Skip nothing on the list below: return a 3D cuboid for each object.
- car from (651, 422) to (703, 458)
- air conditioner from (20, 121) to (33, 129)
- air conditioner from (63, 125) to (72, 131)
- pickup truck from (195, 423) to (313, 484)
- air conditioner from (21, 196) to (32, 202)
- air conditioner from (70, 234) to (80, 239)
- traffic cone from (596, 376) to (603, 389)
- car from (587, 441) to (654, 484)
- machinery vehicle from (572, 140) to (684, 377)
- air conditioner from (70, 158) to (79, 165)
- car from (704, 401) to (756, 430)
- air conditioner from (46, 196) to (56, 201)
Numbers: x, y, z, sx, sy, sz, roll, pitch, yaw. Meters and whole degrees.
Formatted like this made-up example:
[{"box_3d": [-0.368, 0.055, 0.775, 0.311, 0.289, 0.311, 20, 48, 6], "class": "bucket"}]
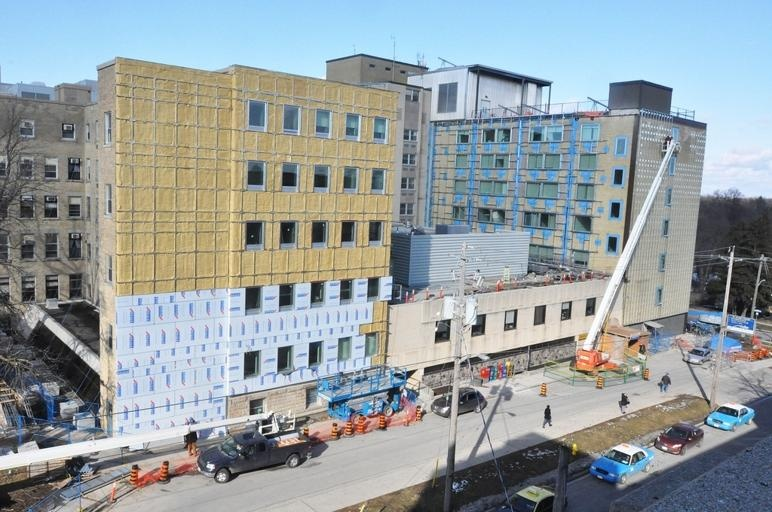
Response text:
[{"box_3d": [25.046, 15.594, 78.754, 3.872, 2.040, 1.970, -4, 7, -29], "class": "car"}, {"box_3d": [-36.772, -13.490, 94.487, 1.388, 0.675, 0.921, 1, 0, -40], "class": "air conditioner"}, {"box_3d": [-33.359, -13.580, 96.911, 1.088, 0.537, 0.705, 0, 3, -21], "class": "air conditioner"}, {"box_3d": [-10.700, 15.569, 72.787, 8.003, 2.436, 3.530, -2, 13, -31], "class": "pickup truck"}, {"box_3d": [-36.700, -5.986, 94.506, 0.989, 0.631, 0.835, -4, 7, -25], "class": "air conditioner"}, {"box_3d": [-33.095, -2.162, 98.568, 1.051, 0.535, 0.673, 2, -1, -13], "class": "air conditioner"}, {"box_3d": [21.275, 12.332, 90.335, 0.979, 0.967, 0.922, 0, 0, -9], "class": "traffic cone"}, {"box_3d": [19.128, 16.777, 74.661, 4.848, 2.418, 1.994, -4, 7, -26], "class": "car"}, {"box_3d": [26.142, -0.479, 97.373, 8.655, 26.025, 4.179, 2, 18, 10], "class": "machinery vehicle"}, {"box_3d": [-32.874, -10.070, 97.556, 1.112, 0.543, 0.705, 3, 1, -16], "class": "air conditioner"}, {"box_3d": [31.203, 14.466, 83.420, 4.407, 1.905, 1.989, -4, 7, -27], "class": "car"}, {"box_3d": [-35.078, -6.027, 96.834, 0.889, 0.525, 0.519, 0, 1, -37], "class": "air conditioner"}]
